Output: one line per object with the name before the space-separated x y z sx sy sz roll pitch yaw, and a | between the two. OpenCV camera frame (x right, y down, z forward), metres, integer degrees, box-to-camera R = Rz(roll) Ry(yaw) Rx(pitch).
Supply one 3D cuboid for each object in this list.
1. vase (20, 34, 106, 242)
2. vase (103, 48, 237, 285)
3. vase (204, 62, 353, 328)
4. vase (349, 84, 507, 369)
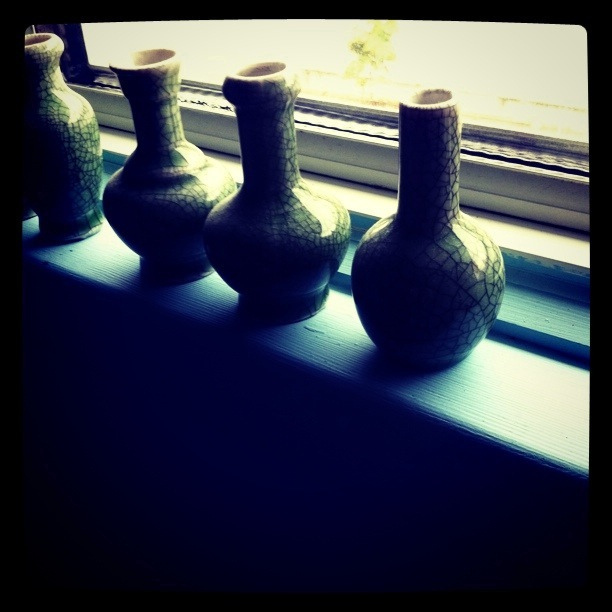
vase | -0.268 -0.171 0.659 0.082 0.248 0.150 -7 28 -20
vase | -0.155 -0.150 0.652 0.137 0.233 0.144 -5 38 -7
vase | -0.032 -0.115 0.602 0.145 0.243 0.159 0 33 7
vase | 0.115 -0.067 0.538 0.144 0.234 0.145 -17 39 -13
